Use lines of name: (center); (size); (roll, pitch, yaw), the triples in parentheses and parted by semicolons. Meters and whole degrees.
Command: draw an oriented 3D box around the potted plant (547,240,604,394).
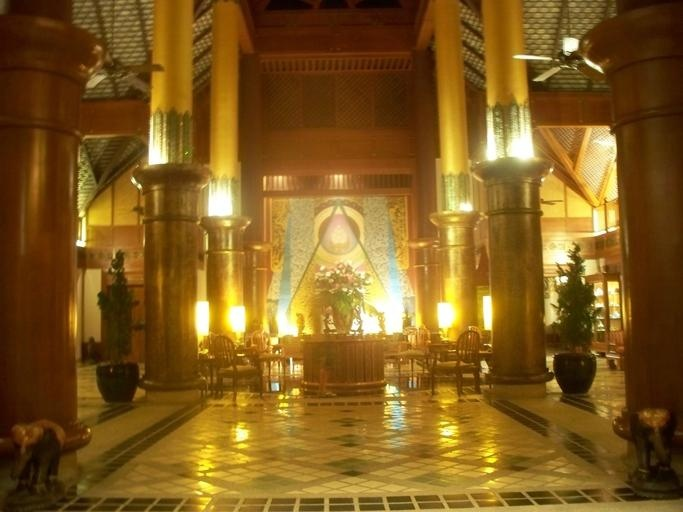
potted plant: (3.087, 0.798, 8.437); (0.576, 1.924, 0.714); (-3, -4, 20)
